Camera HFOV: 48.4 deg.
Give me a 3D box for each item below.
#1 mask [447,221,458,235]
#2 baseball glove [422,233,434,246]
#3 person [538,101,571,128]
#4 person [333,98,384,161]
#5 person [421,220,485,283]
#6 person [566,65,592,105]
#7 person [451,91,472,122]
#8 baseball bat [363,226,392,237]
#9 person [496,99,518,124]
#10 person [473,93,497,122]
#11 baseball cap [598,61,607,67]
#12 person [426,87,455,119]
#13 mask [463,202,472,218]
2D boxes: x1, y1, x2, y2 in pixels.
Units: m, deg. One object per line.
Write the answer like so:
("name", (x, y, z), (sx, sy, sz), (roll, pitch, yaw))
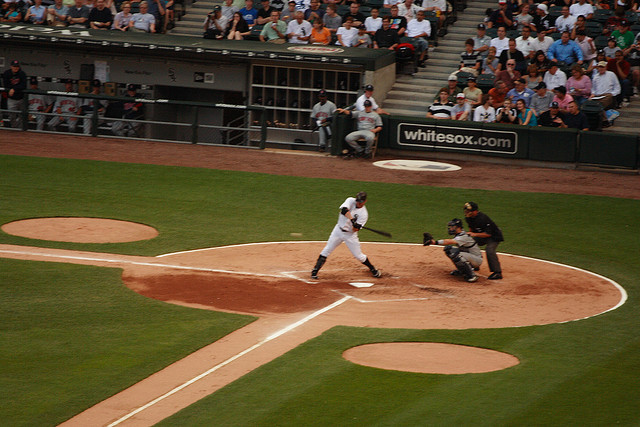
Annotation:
("mask", (2.959, 0.324, 15.994), (0.192, 0.308, 0.218), (5, 7, -5))
("baseball glove", (2.360, 0.559, 15.509), (0.207, 0.252, 0.238), (8, 7, 21))
("person", (7.824, -3.222, 23.606), (1.043, 0.817, 0.633), (5, 6, 9))
("person", (1.407, -2.909, 24.714), (1.646, 2.105, 0.789), (6, 8, 2))
("person", (3.036, 0.834, 16.001), (1.589, 1.364, 0.700), (3, 8, -13))
("person", (8.681, -4.304, 23.920), (0.813, 1.309, 0.327), (7, 8, 9))
("person", (4.920, -3.630, 24.556), (0.755, 0.978, 0.738), (6, 7, 6))
("baseball bat", (1.447, 0.446, 17.764), (1.140, 0.079, 0.134), (11, 4, -8))
("person", (6.307, -3.432, 24.177), (0.781, 0.831, 0.425), (7, 7, 19))
("person", (5.744, -3.614, 24.406), (0.765, 1.044, 0.669), (4, 7, -15))
("baseball cap", (9.369, -4.944, 23.689), (0.279, 0.200, 0.181), (6, 6, 22))
("person", (4.262, -3.825, 24.951), (0.851, 1.055, 0.690), (6, 7, 4))
("mask", (3.353, -0.065, 16.183), (0.172, 0.331, 0.368), (7, 6, 0))
